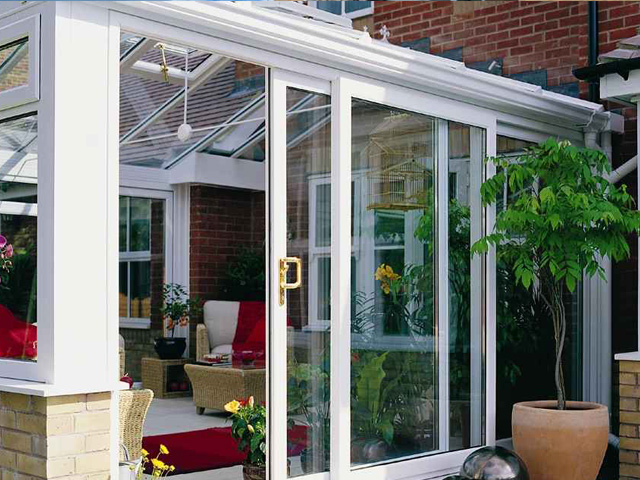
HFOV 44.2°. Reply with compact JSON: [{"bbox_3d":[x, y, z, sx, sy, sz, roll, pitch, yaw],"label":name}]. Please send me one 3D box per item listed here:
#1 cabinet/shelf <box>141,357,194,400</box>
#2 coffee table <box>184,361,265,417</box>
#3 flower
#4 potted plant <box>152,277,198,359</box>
[{"bbox_3d":[-1.911,1.681,9.926,0.563,0.539,0.546,4,-5,-30],"label":"cabinet/shelf"},{"bbox_3d":[-0.993,1.449,8.332,0.796,0.436,0.679,-4,-5,44],"label":"coffee table"},{"bbox_3d":[-0.485,1.309,5.448,0.310,0.442,0.283,-2,-6,14],"label":"flower"},{"bbox_3d":[-1.835,1.011,9.995,0.517,0.974,0.523,1,-6,-15],"label":"potted plant"}]
